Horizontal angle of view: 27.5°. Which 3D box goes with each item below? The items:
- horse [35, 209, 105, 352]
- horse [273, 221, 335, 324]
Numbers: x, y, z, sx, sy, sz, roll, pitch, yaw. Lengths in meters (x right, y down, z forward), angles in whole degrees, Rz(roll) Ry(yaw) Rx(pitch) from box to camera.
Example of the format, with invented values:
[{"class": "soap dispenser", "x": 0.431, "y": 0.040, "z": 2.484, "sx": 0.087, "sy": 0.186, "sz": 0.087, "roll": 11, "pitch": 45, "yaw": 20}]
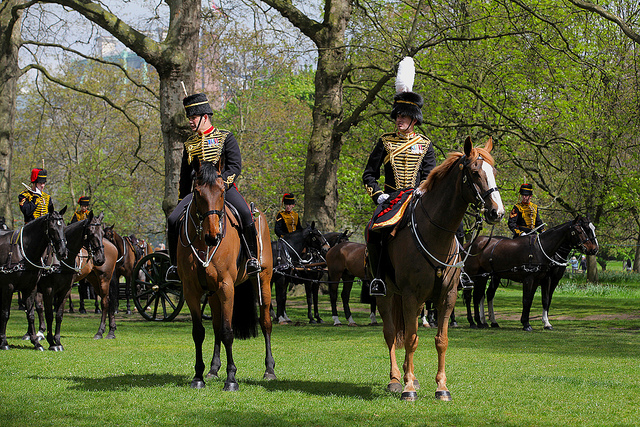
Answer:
[{"class": "horse", "x": -10.761, "y": 2.281, "z": 47.064, "sx": 3.300, "sy": 4.548, "sz": 5.442, "roll": 1, "pitch": -3, "yaw": -17}, {"class": "horse", "x": -1.105, "y": 2.328, "z": 53.479, "sx": 2.742, "sy": 3.937, "sz": 3.359, "roll": 4, "pitch": -1, "yaw": 10}]
